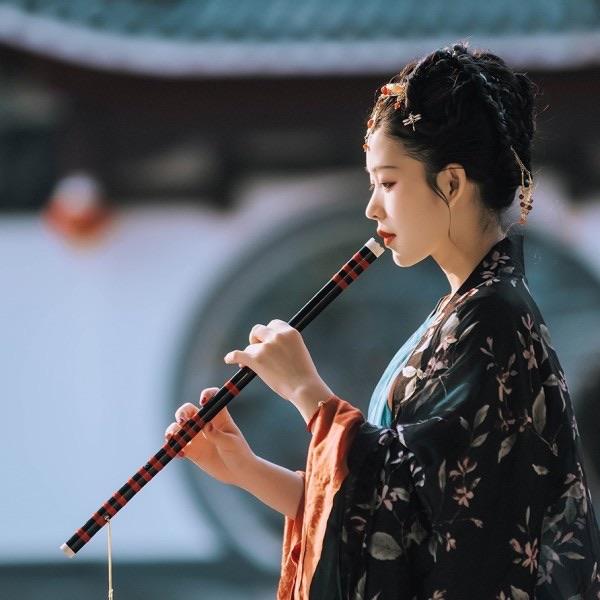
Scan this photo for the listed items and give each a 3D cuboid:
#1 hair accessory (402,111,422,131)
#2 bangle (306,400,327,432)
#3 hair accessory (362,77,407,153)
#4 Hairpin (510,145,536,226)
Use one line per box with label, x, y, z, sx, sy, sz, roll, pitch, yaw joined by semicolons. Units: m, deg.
hair accessory;0.286;-0.462;3.366;0.042;0.044;0.015;-16;-10;23
bangle;0.031;0.297;3.318;0.052;0.069;0.021;-3;0;2
hair accessory;0.224;-0.506;3.453;0.070;0.234;0.073;28;-14;21
Hairpin;0.586;-0.288;3.465;0.050;0.242;0.042;-14;12;-41
